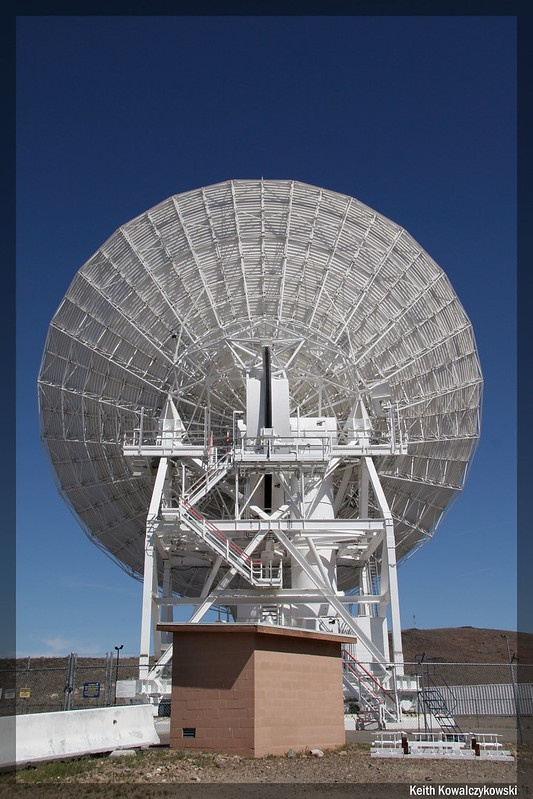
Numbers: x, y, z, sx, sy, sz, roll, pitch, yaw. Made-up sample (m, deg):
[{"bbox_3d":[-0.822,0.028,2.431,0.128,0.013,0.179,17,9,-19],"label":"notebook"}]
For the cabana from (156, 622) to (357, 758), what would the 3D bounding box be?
[{"bbox_3d":[-1.172,7.687,17.239,2.813,2.688,4.411,-3,-25,6],"label":"cabana"}]
